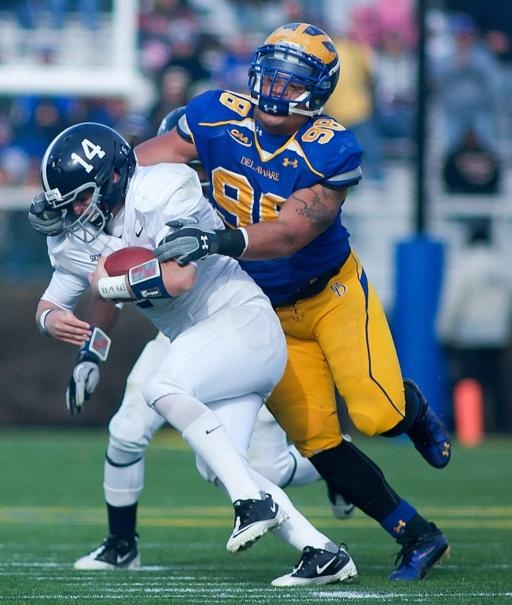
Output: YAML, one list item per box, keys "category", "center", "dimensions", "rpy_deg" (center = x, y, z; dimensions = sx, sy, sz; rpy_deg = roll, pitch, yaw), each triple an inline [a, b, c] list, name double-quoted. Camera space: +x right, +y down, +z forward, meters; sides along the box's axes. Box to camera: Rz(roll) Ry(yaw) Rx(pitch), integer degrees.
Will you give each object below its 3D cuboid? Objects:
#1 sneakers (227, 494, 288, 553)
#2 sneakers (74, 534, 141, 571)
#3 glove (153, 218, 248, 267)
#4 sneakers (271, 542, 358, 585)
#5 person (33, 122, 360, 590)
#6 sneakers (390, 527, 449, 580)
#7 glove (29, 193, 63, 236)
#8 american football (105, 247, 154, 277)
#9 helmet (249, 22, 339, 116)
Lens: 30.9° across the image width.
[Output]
- category: "sneakers"
  center: [0.006, 0.558, 2.332]
  dimensions: [0.170, 0.141, 0.102]
  rpy_deg: [-5, 21, -14]
- category: "sneakers"
  center: [-0.468, 0.830, 3.071]
  dimensions: [0.272, 0.095, 0.085]
  rpy_deg: [4, -7, -28]
- category: "glove"
  center: [-0.139, -0.157, 2.396]
  dimensions: [0.204, 0.073, 0.118]
  rpy_deg: [-4, 52, -15]
- category: "sneakers"
  center: [0.179, 0.748, 2.670]
  dimensions: [0.307, 0.103, 0.088]
  rpy_deg: [-2, -5, -11]
- category: "person"
  center: [-0.182, 0.159, 2.625]
  dimensions: [0.532, 1.265, 1.019]
  rpy_deg: [-14, 24, -31]
- category: "sneakers"
  center: [0.494, 0.789, 2.876]
  dimensions: [0.105, 0.083, 0.212]
  rpy_deg: [-21, 13, 47]
- category: "glove"
  center: [-0.619, -0.261, 2.689]
  dimensions: [0.076, 0.117, 0.102]
  rpy_deg: [-11, -4, -32]
- category: "american football"
  center: [-0.332, -0.120, 2.500]
  dimensions: [0.124, 0.032, 0.084]
  rpy_deg: [-19, 14, -35]
- category: "helmet"
  center: [0.109, -0.692, 2.736]
  dimensions: [0.278, 0.237, 0.334]
  rpy_deg: [10, 13, 19]
